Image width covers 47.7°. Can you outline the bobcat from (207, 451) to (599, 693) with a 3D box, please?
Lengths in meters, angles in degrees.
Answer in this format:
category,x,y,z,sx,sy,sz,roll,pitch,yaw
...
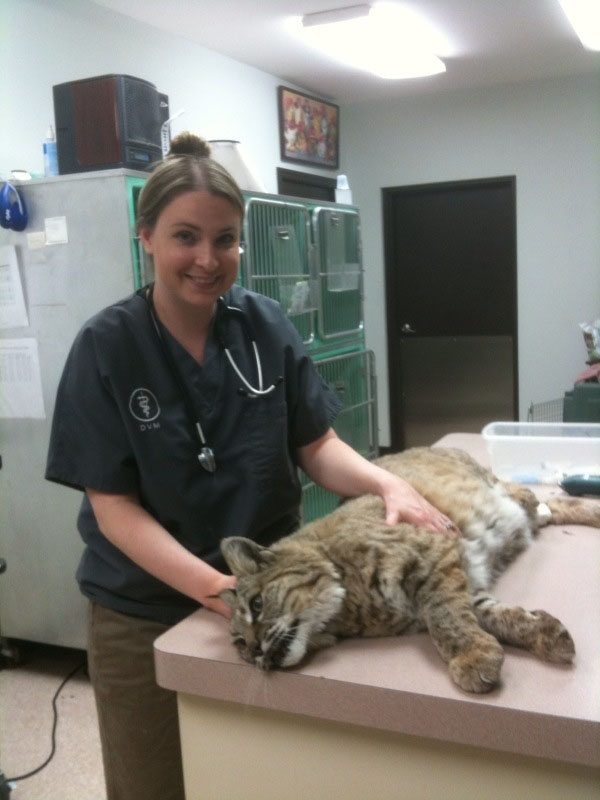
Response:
category,x,y,z,sx,sy,sz,roll,pitch,yaw
bobcat,0.082,0.123,0.965,0.606,0.233,0.396,-10,11,-37

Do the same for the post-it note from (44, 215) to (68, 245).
category,x,y,z,sx,sy,sz,roll,pitch,yaw
post-it note,-0.710,-0.503,1.989,0.075,0.086,0.009,-6,4,21

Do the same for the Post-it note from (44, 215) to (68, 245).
category,x,y,z,sx,sy,sz,roll,pitch,yaw
Post-it note,-0.710,-0.503,1.989,0.075,0.086,0.009,-6,4,21

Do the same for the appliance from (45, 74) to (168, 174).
category,x,y,z,sx,sy,sz,roll,pitch,yaw
appliance,-0.546,-0.816,2.073,0.216,0.270,0.372,3,16,15

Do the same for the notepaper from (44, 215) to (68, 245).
category,x,y,z,sx,sy,sz,roll,pitch,yaw
notepaper,-0.710,-0.503,1.989,0.075,0.086,0.009,-6,4,21
